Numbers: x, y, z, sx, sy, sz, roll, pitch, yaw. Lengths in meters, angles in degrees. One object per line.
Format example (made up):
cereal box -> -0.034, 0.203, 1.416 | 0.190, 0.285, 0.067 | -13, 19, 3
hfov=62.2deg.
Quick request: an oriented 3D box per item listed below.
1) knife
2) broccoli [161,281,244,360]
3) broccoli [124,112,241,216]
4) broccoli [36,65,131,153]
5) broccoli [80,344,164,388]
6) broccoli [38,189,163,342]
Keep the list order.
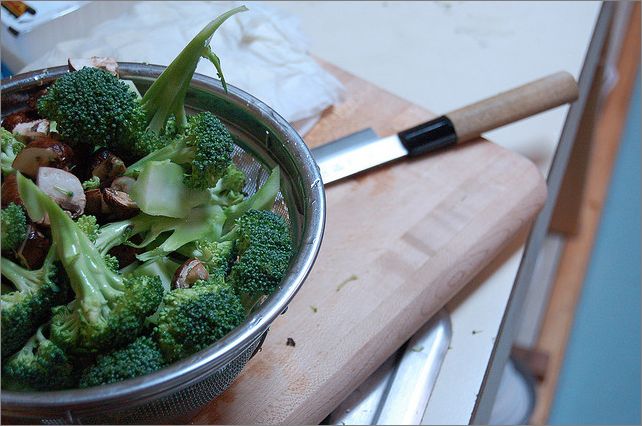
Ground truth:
knife -> 0.385, -0.249, 1.649 | 0.843, 0.080, 0.182 | -21, 60, -10
broccoli -> -0.271, 0.215, 1.124 | 0.187, 0.190, 0.063 | -9, 12, -31
broccoli -> -0.315, -0.109, 1.210 | 0.210, 0.158, 0.124 | -18, 78, 16
broccoli -> -0.514, -0.232, 1.196 | 0.179, 0.075, 0.186 | 1, 64, -8
broccoli -> -0.398, 0.305, 1.067 | 0.126, 0.050, 0.097 | -19, 7, 9
broccoli -> -0.489, 0.154, 1.191 | 0.198, 0.146, 0.329 | -29, 81, -30
